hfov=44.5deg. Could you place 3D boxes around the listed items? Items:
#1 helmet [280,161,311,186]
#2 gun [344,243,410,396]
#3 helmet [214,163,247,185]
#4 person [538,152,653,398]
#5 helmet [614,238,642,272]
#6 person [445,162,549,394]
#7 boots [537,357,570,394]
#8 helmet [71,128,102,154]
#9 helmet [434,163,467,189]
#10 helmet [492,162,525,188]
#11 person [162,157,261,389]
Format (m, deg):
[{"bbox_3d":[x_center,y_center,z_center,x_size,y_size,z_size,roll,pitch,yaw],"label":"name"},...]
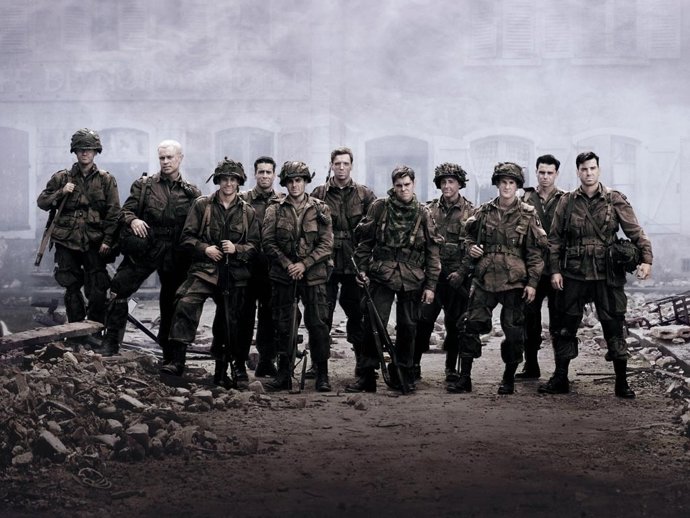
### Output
[{"bbox_3d":[-0.619,-1.067,10.599,0.392,0.348,0.439,0,14,-3],"label":"helmet"},{"bbox_3d":[0.418,0.732,10.741,0.113,1.855,0.620,-21,14,10],"label":"gun"},{"bbox_3d":[-1.444,-1.082,10.550,0.279,0.262,0.328,2,8,-1],"label":"helmet"},{"bbox_3d":[3.114,0.200,10.485,1.179,2.987,0.727,4,13,14],"label":"person"},{"bbox_3d":[3.485,-0.036,10.391,0.349,0.396,0.292,5,14,18],"label":"helmet"},{"bbox_3d":[1.952,0.245,10.541,1.062,2.863,0.652,4,13,12],"label":"person"},{"bbox_3d":[2.661,1.486,10.672,0.479,0.461,0.225,-1,5,-26],"label":"boots"},{"bbox_3d":[-3.393,-1.519,11.031,0.384,0.305,0.359,-7,8,-37],"label":"helmet"},{"bbox_3d":[1.415,-1.125,11.365,0.328,0.303,0.416,2,7,6],"label":"helmet"},{"bbox_3d":[2.040,-1.053,10.544,0.371,0.343,0.398,3,14,9],"label":"helmet"},{"bbox_3d":[-1.633,0.165,10.498,1.316,2.773,0.931,-6,15,-28],"label":"person"}]
